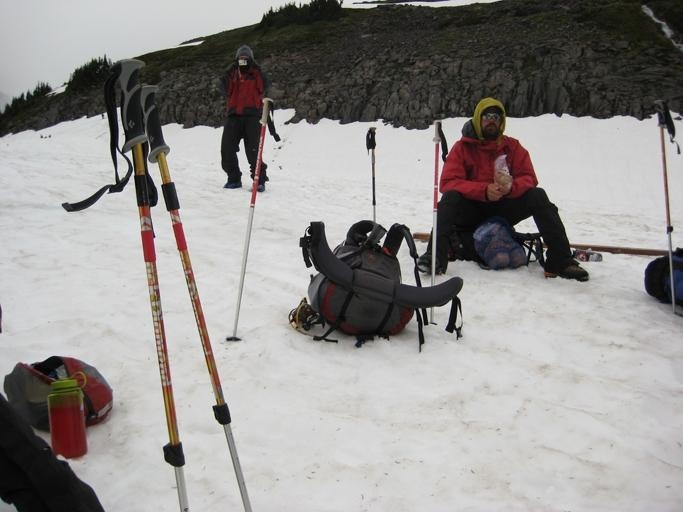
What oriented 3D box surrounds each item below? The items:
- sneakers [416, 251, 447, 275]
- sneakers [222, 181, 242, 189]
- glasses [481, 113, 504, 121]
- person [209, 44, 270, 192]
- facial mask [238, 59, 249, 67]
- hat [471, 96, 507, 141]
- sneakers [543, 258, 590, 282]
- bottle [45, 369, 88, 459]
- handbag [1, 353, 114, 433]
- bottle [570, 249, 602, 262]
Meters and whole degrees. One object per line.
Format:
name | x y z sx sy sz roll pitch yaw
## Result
sneakers | 0.959 0.076 6.393 0.157 0.219 0.459 3 6 11
sneakers | -1.774 -1.163 10.107 0.195 0.114 0.133 -7 10 -23
glasses | 1.609 -1.489 6.582 0.198 0.076 0.049 2 14 9
person | -1.573 -2.233 9.953 0.784 2.260 0.681 -2 14 -6
facial mask | -1.550 -3.072 9.740 0.124 0.113 0.051 -2 5 -10
hat | 1.676 -1.499 6.763 0.329 0.525 0.492 3 15 3
sneakers | 2.329 0.147 6.328 0.400 0.192 0.202 -1 3 38
bottle | -1.803 1.061 4.040 0.217 0.525 0.186 -7 15 -26
handbag | -1.942 0.881 4.326 0.596 0.447 0.488 18 7 -1
bottle | 2.735 -0.006 6.839 0.290 0.128 0.229 4 4 -11
